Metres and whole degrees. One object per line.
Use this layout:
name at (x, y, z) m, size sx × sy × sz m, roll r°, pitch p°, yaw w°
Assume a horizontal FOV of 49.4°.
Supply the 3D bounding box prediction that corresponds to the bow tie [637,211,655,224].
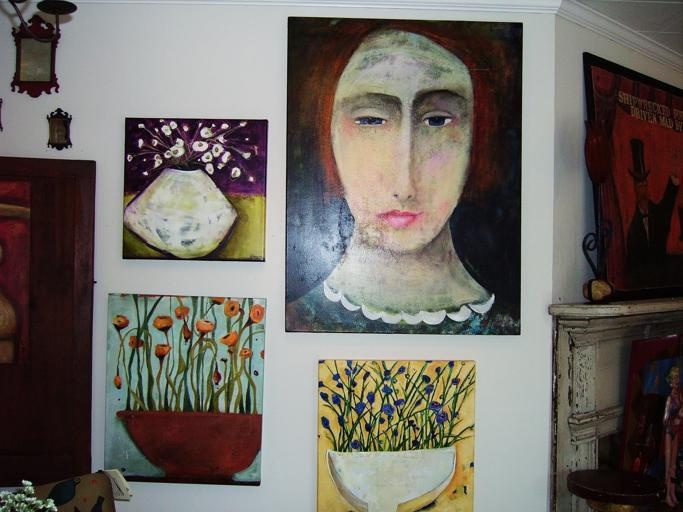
bow tie at (1.920, -0.253, 4.700) m, size 0.066 × 0.085 × 0.017 m, roll -2°, pitch 3°, yaw -22°
